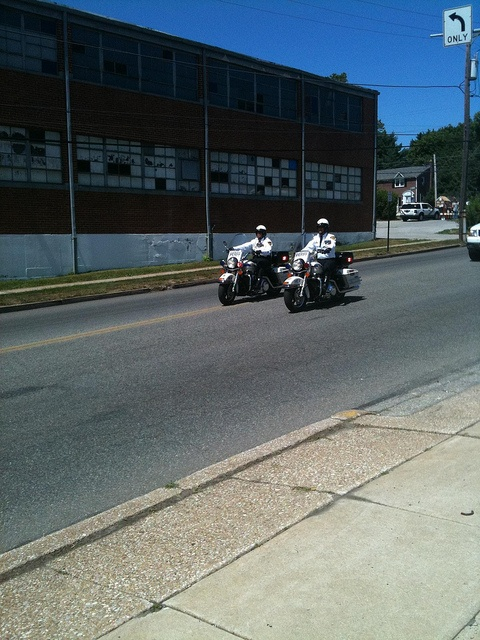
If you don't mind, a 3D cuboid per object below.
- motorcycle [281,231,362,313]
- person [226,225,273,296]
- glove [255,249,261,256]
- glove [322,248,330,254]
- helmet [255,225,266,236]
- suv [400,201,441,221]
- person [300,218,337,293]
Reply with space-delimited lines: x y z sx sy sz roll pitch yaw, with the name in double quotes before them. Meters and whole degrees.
"motorcycle" 1.846 -1.171 13.484 0.735 1.683 2.421 0 10 36
"person" 0.530 -1.809 14.757 0.828 0.976 1.686 0 12 34
"glove" 0.467 -1.741 14.705 0.136 0.129 0.032 -3 11 -16
"glove" 2.050 -1.638 13.577 0.186 0.140 0.055 -4 8 13
"helmet" 0.502 -2.266 14.704 0.277 0.381 0.380 1 3 20
"suv" 20.851 -12.659 67.324 2.699 2.144 6.800 1 10 39
"person" 1.906 -1.493 13.622 0.957 1.790 0.856 -14 20 -34
